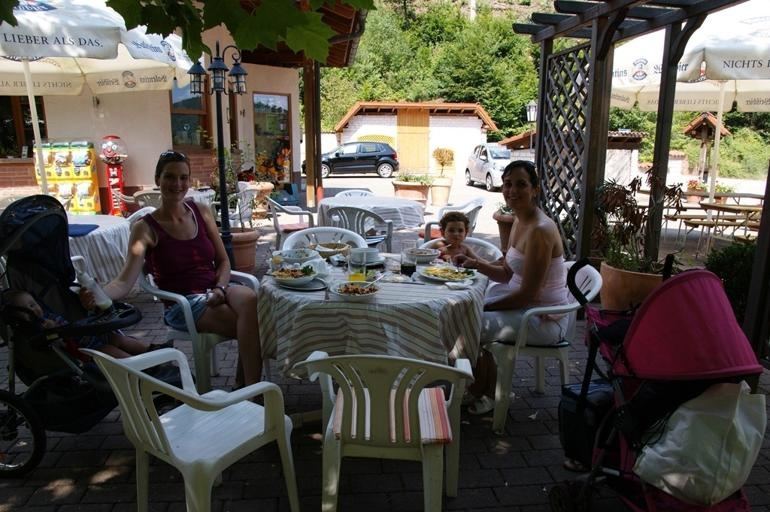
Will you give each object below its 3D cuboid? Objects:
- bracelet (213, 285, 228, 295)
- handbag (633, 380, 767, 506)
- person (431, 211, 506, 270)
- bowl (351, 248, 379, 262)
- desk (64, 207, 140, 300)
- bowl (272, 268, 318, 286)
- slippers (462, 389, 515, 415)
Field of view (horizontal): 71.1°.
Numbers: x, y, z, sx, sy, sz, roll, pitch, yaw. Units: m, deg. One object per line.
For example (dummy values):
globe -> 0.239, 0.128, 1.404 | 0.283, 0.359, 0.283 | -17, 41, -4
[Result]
bracelet -> -1.326, 0.269, 4.354 | 0.092, 0.060, 0.085 | 18, -36, -42
handbag -> 1.812, 0.952, 3.137 | 0.558, 0.401, 0.727 | 18, 27, 12
person -> 0.718, -0.180, 4.951 | 0.561, 0.706, 0.524 | -1, 20, -6
bowl -> -0.166, -0.001, 4.346 | 0.145, 0.051, 0.143 | -1, 10, 0
desk -> -3.203, -0.099, 6.418 | 1.094, 0.811, 1.124 | -3, 23, -16
bowl -> -0.659, 0.144, 3.961 | 0.189, 0.076, 0.186 | 1, 5, 0
slippers -> 0.859, 1.195, 4.371 | 0.478, 0.146, 0.174 | -6, 16, -23
